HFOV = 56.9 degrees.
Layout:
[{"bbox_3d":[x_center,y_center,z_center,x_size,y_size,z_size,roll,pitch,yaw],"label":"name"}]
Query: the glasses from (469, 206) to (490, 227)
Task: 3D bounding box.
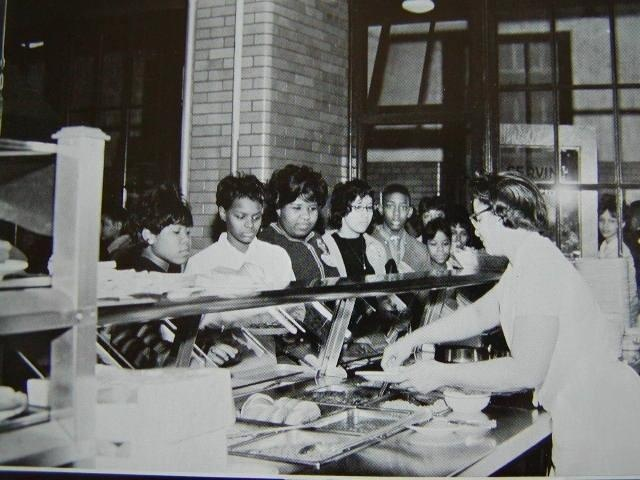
[{"bbox_3d":[0.741,-0.106,2.796,0.116,0.055,0.102,-6,3,19],"label":"glasses"}]
